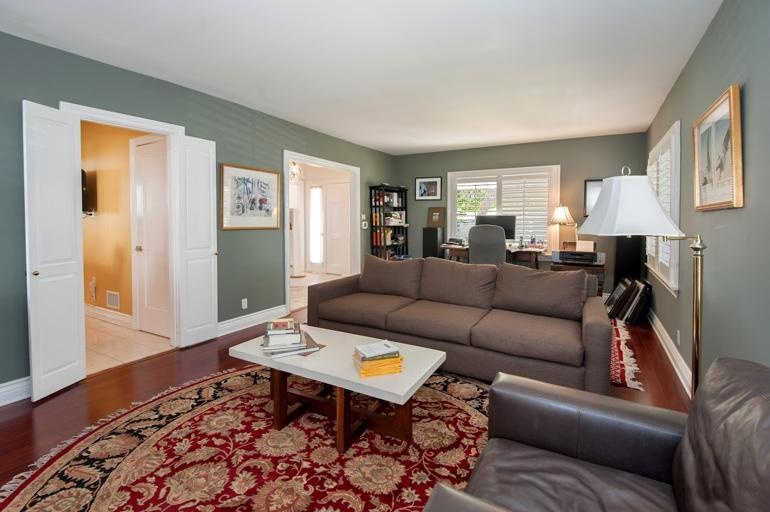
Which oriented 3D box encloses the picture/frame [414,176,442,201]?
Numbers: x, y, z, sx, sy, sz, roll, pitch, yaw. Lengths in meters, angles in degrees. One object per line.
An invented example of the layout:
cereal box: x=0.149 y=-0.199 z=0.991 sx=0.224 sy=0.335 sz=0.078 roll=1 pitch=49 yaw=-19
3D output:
picture/frame: x=0.820 y=-1.263 z=8.749 sx=0.489 sy=0.386 sz=0.035 roll=4 pitch=7 yaw=31

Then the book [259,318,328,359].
book: x=-0.779 y=0.631 z=3.819 sx=0.341 sy=0.121 sz=0.347 roll=-1 pitch=1 yaw=-37

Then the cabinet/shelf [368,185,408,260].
cabinet/shelf: x=0.107 y=-0.646 z=8.629 sx=0.338 sy=1.304 sz=1.007 roll=4 pitch=8 yaw=37

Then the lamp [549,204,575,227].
lamp: x=2.754 y=-0.640 z=7.363 sx=0.353 sy=0.308 sz=0.331 roll=0 pitch=9 yaw=20

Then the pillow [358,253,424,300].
pillow: x=0.077 y=0.219 z=5.417 sx=0.767 sy=0.437 sz=0.270 roll=5 pitch=5 yaw=28

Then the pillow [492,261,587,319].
pillow: x=1.514 y=0.338 z=4.727 sx=0.923 sy=0.519 sz=0.351 roll=9 pitch=-4 yaw=33

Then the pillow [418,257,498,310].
pillow: x=0.759 y=0.283 z=5.045 sx=0.779 sy=0.422 sz=0.272 roll=9 pitch=17 yaw=18

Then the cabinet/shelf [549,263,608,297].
cabinet/shelf: x=2.719 y=0.301 z=6.661 sx=0.734 sy=0.396 sz=0.508 roll=2 pitch=25 yaw=40

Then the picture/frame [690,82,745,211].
picture/frame: x=2.687 y=-0.843 z=3.826 sx=0.159 sy=0.939 sz=0.840 roll=1 pitch=7 yaw=20

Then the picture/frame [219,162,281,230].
picture/frame: x=-1.653 y=-0.737 z=5.901 sx=0.036 sy=0.767 sz=0.962 roll=4 pitch=5 yaw=29

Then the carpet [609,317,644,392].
carpet: x=2.528 y=0.936 z=5.117 sx=0.264 sy=0.019 sz=1.258 roll=8 pitch=33 yaw=17
